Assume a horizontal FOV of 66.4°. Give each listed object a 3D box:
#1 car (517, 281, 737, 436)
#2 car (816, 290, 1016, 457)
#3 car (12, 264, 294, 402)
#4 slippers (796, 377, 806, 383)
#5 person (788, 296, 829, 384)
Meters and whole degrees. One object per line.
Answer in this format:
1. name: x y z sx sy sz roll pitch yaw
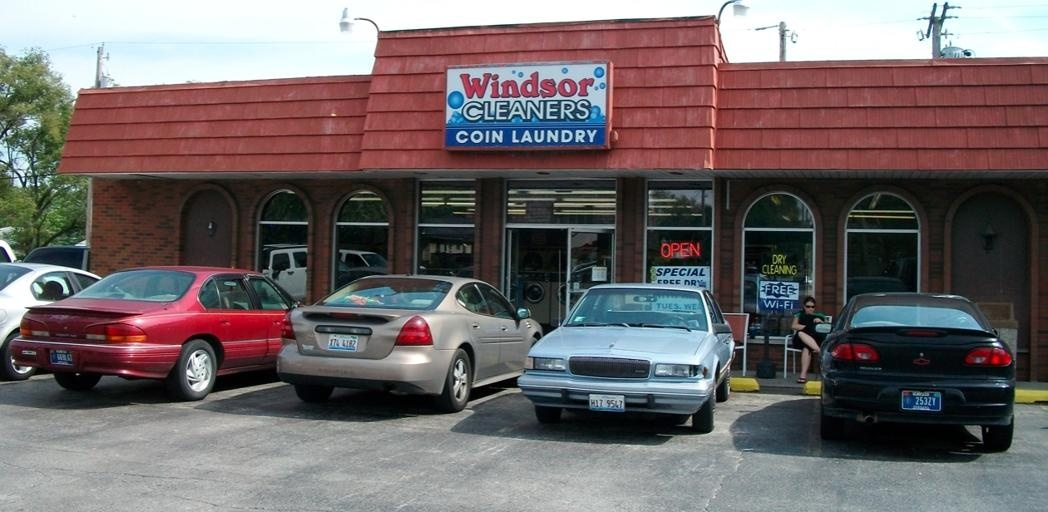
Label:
1. car: 2.419 1.984 17.104 3.509 2.378 7.901 0 0 20
2. car: 7.756 2.453 15.870 3.456 2.555 1.816 5 12 16
3. car: -8.069 1.569 20.201 4.291 2.175 7.780 3 3 22
4. slippers: 7.116 3.182 20.470 0.231 0.110 0.528 -1 -2 15
5. person: 7.334 2.063 20.712 1.215 2.758 1.010 -1 0 -1
